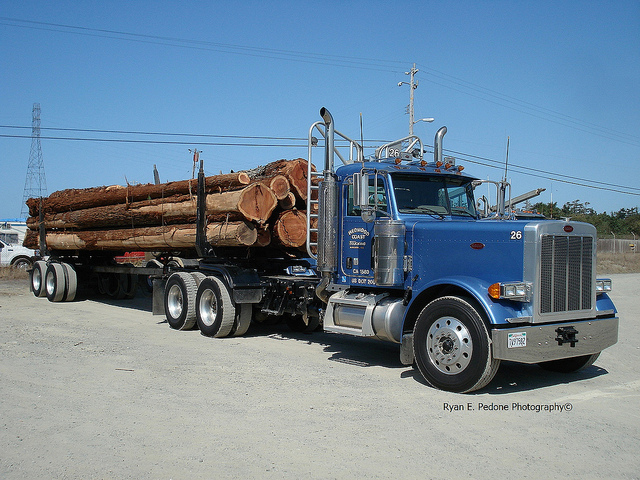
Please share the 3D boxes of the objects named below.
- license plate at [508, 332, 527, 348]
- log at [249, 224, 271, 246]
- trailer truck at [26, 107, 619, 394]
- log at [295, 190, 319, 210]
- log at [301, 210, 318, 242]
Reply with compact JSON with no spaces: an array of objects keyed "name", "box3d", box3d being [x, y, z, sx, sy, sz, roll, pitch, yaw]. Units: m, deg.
[{"name":"license plate","box3d":[2.587,1.324,7.358,0.331,0.194,0.022,0,3,-26]},{"name":"log","box3d":[-1.168,-0.065,11.310,0.279,0.391,0.383,5,30,36]},{"name":"trailer truck","box3d":[-1.248,-0.023,13.072,4.270,4.242,13.899,0,0,-44]},{"name":"log","box3d":[-0.270,-0.796,11.458,0.395,0.388,0.695,2,-5,-3]},{"name":"log","box3d":[-0.138,-0.307,11.466,0.121,0.530,0.537,-5,28,6]}]
